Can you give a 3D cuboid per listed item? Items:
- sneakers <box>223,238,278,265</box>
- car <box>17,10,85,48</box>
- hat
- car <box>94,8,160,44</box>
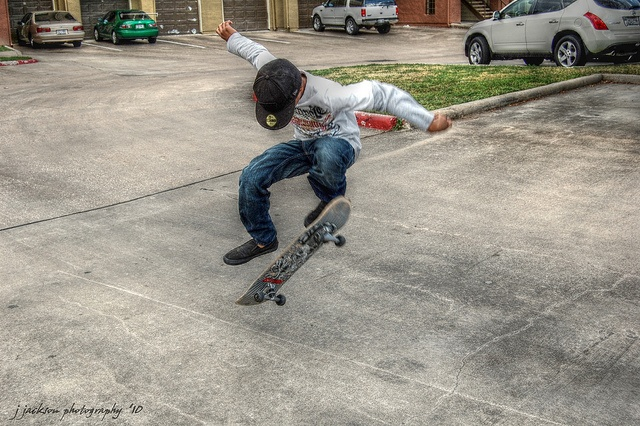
[{"bbox_3d":[-0.747,0.412,5.143,0.622,0.160,0.209,-17,36,-25],"label":"sneakers"},{"bbox_3d":[-13.615,-9.293,25.200,2.067,1.777,2.885,-20,26,-40],"label":"car"},{"bbox_3d":[-0.368,-1.049,4.457,0.442,0.615,0.359,-3,21,-2],"label":"hat"},{"bbox_3d":[-10.556,-9.988,26.761,3.313,1.706,1.610,10,24,31],"label":"car"}]
